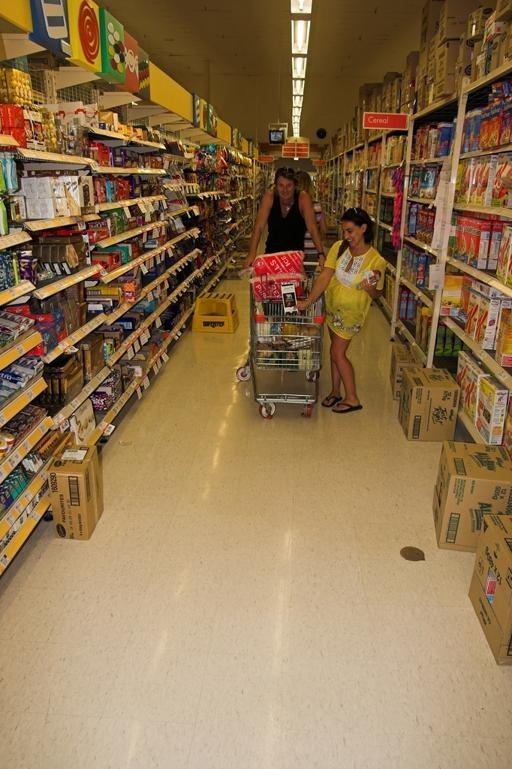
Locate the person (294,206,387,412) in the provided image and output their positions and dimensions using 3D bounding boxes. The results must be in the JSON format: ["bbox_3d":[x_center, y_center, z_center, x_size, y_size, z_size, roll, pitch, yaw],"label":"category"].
[{"bbox_3d":[0.664,-0.558,3.546,0.540,1.649,0.518,22,37,37],"label":"person"}]

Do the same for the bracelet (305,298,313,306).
[{"bbox_3d":[0.371,-0.582,3.137,0.048,0.058,0.106,2,10,13],"label":"bracelet"}]

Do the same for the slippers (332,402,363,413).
[{"bbox_3d":[0.772,0.201,3.765,0.168,0.060,0.103,1,17,1],"label":"slippers"}]
